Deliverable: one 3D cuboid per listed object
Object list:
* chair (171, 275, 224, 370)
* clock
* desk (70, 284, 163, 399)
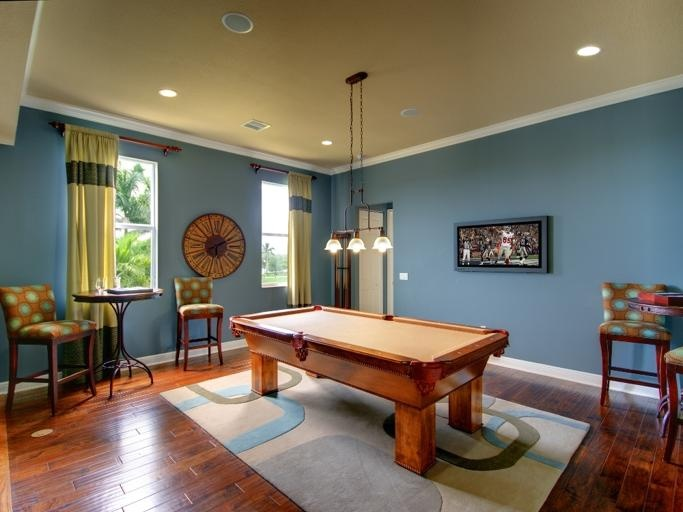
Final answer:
[{"bbox_3d":[-1.903,0.856,6.147,0.635,1.104,0.986,-5,14,-20],"label":"chair"},{"bbox_3d":[-1.790,-0.144,6.590,0.913,0.959,0.089,3,-5,-34],"label":"clock"},{"bbox_3d":[-2.446,0.923,5.500,1.060,1.341,1.077,-2,-1,35],"label":"desk"}]
